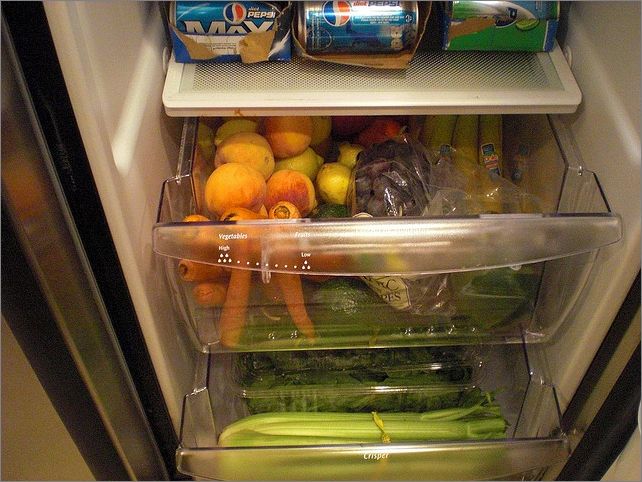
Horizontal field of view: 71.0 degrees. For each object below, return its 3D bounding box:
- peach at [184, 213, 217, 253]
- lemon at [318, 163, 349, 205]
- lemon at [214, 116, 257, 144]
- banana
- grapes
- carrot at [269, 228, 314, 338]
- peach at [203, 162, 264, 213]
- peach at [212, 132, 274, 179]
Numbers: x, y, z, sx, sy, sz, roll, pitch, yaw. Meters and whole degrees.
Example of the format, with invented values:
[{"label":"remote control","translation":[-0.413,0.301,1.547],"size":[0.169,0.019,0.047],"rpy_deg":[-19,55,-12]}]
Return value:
[{"label":"peach","translation":[-0.227,-0.011,0.835],"size":[0.065,0.039,0.069],"rpy_deg":[-2,8,6]},{"label":"lemon","translation":[0.038,-0.143,1.130],"size":[0.087,0.108,0.081],"rpy_deg":[-19,26,-40]},{"label":"lemon","translation":[-0.210,-0.275,1.088],"size":[0.085,0.052,0.073],"rpy_deg":[-6,63,-4]},{"label":"banana","translation":[0.363,-0.160,1.112],"size":[0.190,0.073,0.294],"rpy_deg":[-3,68,0]},{"label":"grapes","translation":[0.166,-0.150,1.044],"size":[0.174,0.123,0.219],"rpy_deg":[6,30,12]},{"label":"carrot","translation":[-0.043,0.090,0.919],"size":[0.058,0.224,0.052],"rpy_deg":[-6,35,16]},{"label":"peach","translation":[-0.186,-0.105,0.962],"size":[0.105,0.117,0.105],"rpy_deg":[2,5,-3]},{"label":"peach","translation":[-0.185,-0.184,1.049],"size":[0.103,0.119,0.109],"rpy_deg":[-5,-8,-34]}]
